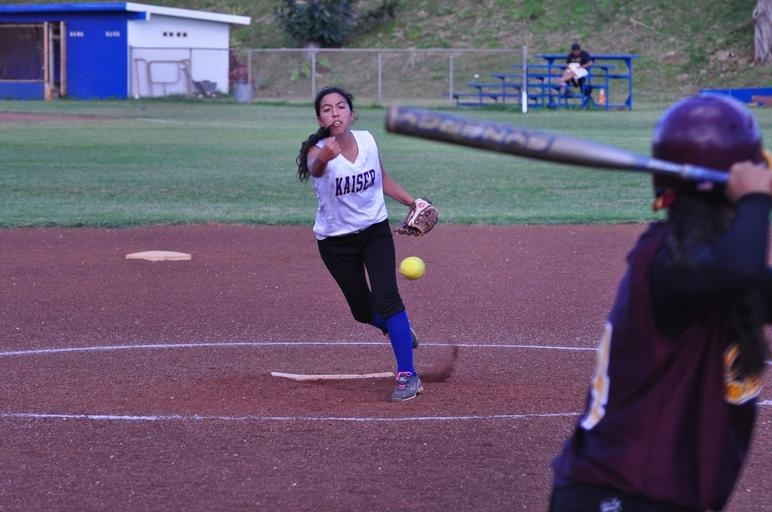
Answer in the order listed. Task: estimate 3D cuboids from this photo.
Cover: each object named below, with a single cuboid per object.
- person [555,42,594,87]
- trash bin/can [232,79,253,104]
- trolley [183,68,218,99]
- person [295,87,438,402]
[{"bbox_3d":[4.486,-4.544,29.988,0.683,0.844,1.390,-1,21,27],"label":"person"},{"bbox_3d":[-3.793,-4.282,33.067,0.619,0.586,0.560,1,0,-7],"label":"trash bin/can"},{"bbox_3d":[-4.820,-4.358,32.577,0.962,0.783,0.573,0,8,-3],"label":"trolley"},{"bbox_3d":[-0.248,-0.154,13.178,1.296,3.176,0.974,-2,11,-1],"label":"person"}]
